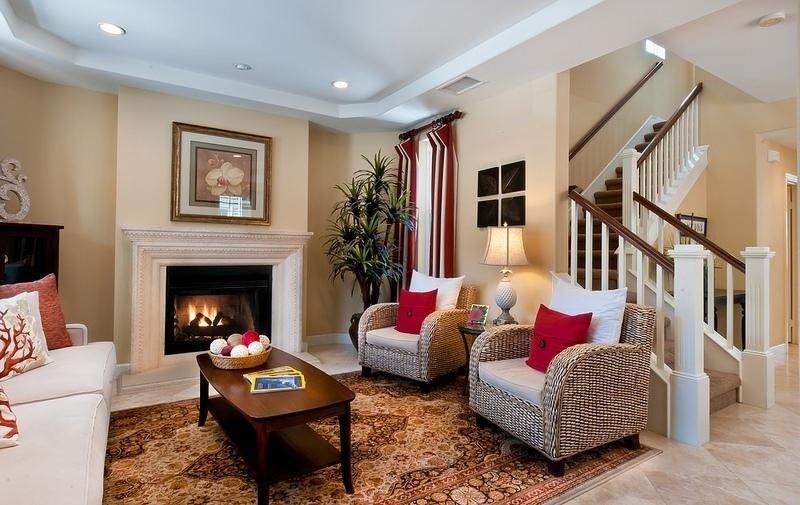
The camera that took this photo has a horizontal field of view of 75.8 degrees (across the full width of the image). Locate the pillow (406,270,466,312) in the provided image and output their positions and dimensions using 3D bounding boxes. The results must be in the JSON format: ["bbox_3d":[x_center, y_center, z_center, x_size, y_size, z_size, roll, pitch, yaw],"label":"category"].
[{"bbox_3d":[0.448,0.471,6.113,0.465,0.354,0.159,-6,-44,37],"label":"pillow"}]

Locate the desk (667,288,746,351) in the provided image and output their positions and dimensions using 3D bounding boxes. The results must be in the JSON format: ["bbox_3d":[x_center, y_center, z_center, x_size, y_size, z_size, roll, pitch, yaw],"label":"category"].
[{"bbox_3d":[4.040,0.848,6.422,0.403,0.771,1.092,1,3,36],"label":"desk"}]

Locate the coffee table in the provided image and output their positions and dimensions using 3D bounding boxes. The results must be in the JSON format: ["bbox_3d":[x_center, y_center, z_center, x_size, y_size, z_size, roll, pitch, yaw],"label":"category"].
[{"bbox_3d":[-0.981,0.991,4.308,0.907,0.649,1.835,0,3,-30],"label":"coffee table"}]

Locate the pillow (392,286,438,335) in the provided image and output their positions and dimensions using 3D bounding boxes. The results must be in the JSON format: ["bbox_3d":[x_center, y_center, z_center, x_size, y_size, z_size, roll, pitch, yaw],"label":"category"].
[{"bbox_3d":[0.194,0.688,5.919,0.517,0.474,0.185,-2,-22,29],"label":"pillow"}]

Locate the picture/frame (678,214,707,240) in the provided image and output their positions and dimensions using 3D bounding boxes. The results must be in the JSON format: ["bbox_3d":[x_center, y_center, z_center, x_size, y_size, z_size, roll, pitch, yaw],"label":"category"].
[{"bbox_3d":[3.607,-0.318,6.379,0.445,0.300,0.036,0,1,-35],"label":"picture/frame"}]

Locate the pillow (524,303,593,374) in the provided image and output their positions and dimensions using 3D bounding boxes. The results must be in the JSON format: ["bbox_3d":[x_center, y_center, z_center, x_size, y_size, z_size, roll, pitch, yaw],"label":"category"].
[{"bbox_3d":[1.460,0.794,4.658,0.293,0.575,0.569,14,-10,-29],"label":"pillow"}]

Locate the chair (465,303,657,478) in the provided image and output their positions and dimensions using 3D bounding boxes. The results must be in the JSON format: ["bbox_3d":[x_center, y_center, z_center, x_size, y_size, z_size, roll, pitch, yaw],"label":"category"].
[{"bbox_3d":[1.469,1.103,5.063,1.535,1.427,1.509,3,-5,-26],"label":"chair"}]
